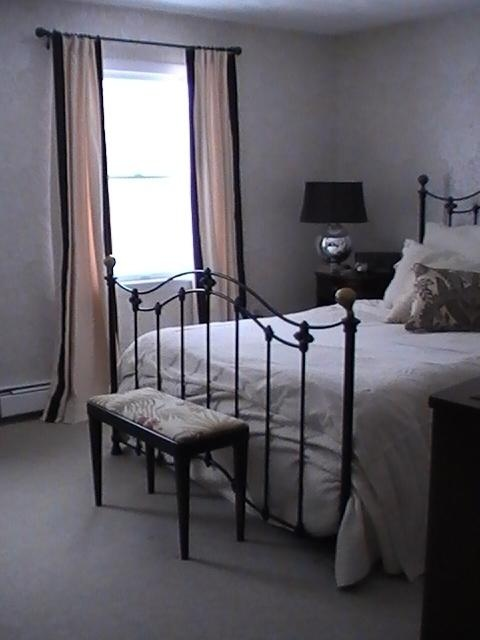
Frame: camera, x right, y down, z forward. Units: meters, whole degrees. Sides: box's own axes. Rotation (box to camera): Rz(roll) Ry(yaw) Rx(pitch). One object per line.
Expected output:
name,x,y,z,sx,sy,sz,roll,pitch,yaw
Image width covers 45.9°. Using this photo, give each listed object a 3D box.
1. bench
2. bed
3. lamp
bench,-0.252,0.498,1.893,0.282,0.419,0.548,-7,12,-43
bed,0.296,0.108,1.983,1.248,0.894,0.982,-7,12,-40
lamp,0.601,-0.610,3.635,0.476,0.661,0.488,-2,12,-6
